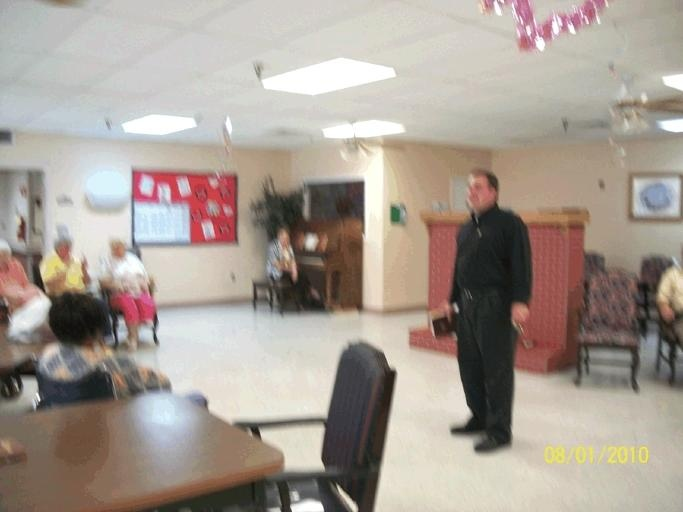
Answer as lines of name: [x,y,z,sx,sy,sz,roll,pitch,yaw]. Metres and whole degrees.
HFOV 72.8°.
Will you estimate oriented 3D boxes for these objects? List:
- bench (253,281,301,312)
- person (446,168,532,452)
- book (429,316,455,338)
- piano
bench: [-1.057,0.627,7.540,0.517,0.412,0.807,3,-5,-24]
person: [0.865,0.343,2.800,0.527,1.728,0.336,3,6,35]
book: [0.643,0.447,2.976,0.141,0.139,0.038,5,7,-13]
piano: [-0.194,0.141,7.423,1.212,1.399,0.693,-2,13,24]
